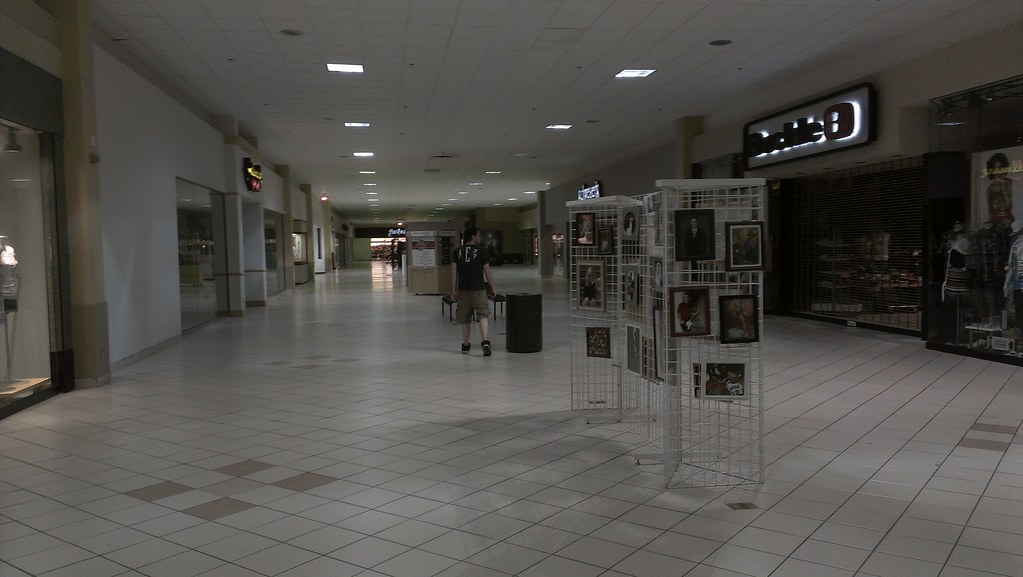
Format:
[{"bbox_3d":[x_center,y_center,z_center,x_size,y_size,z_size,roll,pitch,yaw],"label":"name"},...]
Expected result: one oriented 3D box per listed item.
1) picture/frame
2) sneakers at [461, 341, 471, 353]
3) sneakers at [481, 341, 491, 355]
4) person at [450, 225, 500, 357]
[{"bbox_3d":[1.622,0.114,6.185,1.007,2.330,2.648,0,-2,-18],"label":"picture/frame"},{"bbox_3d":[-0.807,1.048,10.569,0.214,0.181,0.520,0,-2,-5],"label":"sneakers"},{"bbox_3d":[-0.413,1.005,10.158,0.153,0.254,0.281,0,3,-3],"label":"sneakers"},{"bbox_3d":[-0.685,0.005,10.670,0.683,2.197,1.445,-1,3,-4],"label":"person"}]
